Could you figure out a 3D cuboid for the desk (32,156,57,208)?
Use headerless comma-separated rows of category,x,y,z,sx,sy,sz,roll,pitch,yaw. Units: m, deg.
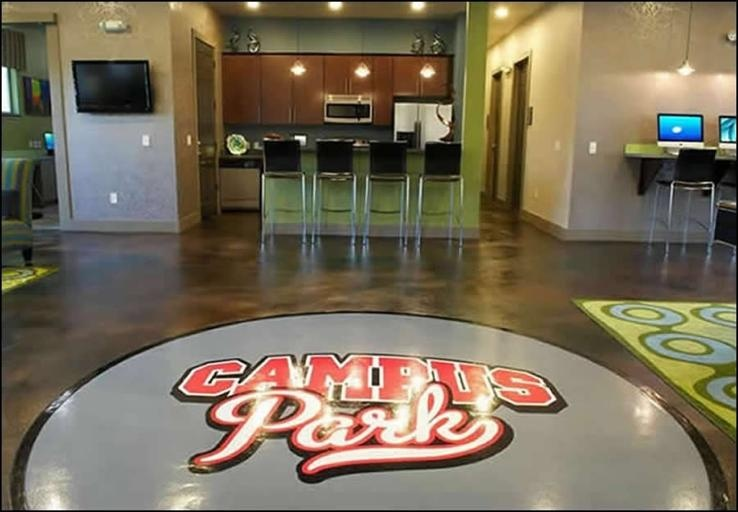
desk,-6.041,-1.387,9.232,0.329,0.846,1.002,-6,15,-23

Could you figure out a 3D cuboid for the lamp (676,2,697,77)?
lamp,4.089,-2.793,6.354,0.169,0.901,0.262,10,17,34

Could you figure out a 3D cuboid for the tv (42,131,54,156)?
tv,-6.499,-2.282,10.046,0.170,0.431,0.615,-9,17,-34

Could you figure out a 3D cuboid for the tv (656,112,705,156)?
tv,3.980,-1.588,6.435,0.575,0.501,0.266,1,3,3

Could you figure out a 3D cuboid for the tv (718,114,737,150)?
tv,4.663,-1.624,6.510,0.219,0.443,0.306,9,16,30

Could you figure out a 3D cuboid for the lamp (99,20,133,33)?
lamp,-3.314,-2.991,6.446,0.206,0.057,0.214,4,36,-5

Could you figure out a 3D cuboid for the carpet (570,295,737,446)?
carpet,2.094,0.625,3.470,1.091,0.111,1.987,7,15,24

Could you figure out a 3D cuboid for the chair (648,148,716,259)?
chair,4.026,-0.747,6.292,0.541,1.107,0.604,3,10,15
